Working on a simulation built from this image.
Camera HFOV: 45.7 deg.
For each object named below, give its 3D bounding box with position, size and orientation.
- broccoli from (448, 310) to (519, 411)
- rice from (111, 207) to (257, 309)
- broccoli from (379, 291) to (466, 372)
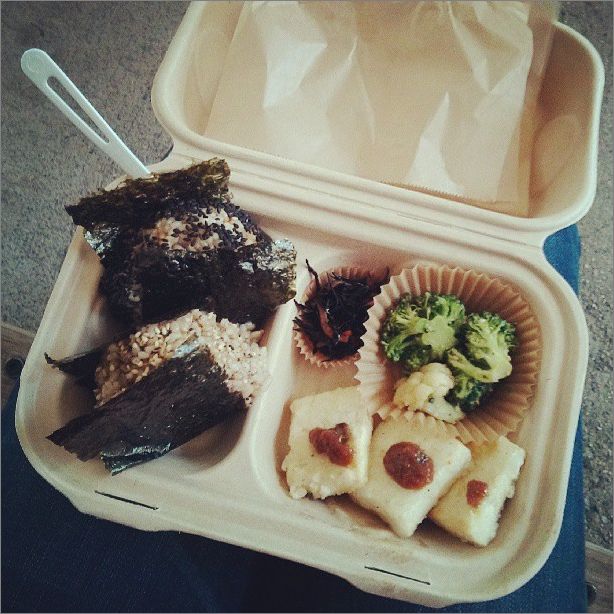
[{"bbox_3d":[0.455,0.147,1.931,0.162,0.100,0.268,29,82,7],"label":"broccoli"},{"bbox_3d":[-0.321,-0.117,1.884,0.417,0.116,0.235,-24,79,-2],"label":"rice"},{"bbox_3d":[0.312,0.066,1.952,0.199,0.076,0.229,45,99,16],"label":"broccoli"}]
